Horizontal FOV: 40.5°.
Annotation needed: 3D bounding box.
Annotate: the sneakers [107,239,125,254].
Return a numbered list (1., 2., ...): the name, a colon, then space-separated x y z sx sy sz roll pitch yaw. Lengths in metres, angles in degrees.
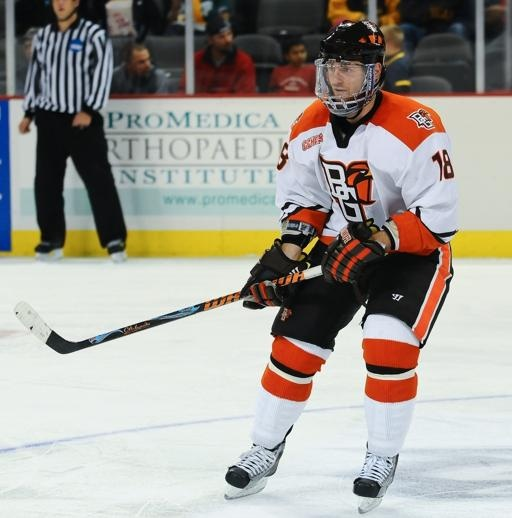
1. sneakers: -1.164 -0.111 5.776 0.141 0.078 0.120 -13 9 -9

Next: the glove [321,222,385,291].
1. glove: 0.256 -0.001 1.671 0.079 0.178 0.113 40 25 -37

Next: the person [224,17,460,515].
1. person: 0.201 -0.029 1.710 0.538 1.157 0.578 4 11 22

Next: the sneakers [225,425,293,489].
1. sneakers: 0.016 0.484 1.682 0.057 0.061 0.179 32 25 19
